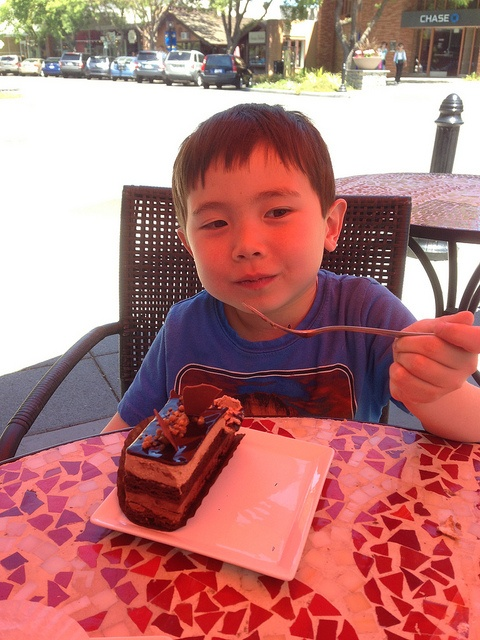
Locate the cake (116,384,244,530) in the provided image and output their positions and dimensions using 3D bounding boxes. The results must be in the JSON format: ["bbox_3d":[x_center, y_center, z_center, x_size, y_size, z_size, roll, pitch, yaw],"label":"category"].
[{"bbox_3d":[-0.089,0.193,0.924,0.324,0.183,0.216,6,8,0],"label":"cake"}]

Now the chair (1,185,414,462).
[{"bbox_3d":[-0.026,0.298,1.762,0.616,1.437,0.714,0,7,7],"label":"chair"}]

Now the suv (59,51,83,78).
[{"bbox_3d":[-9.653,-14.663,30.036,1.195,1.218,2.052,-12,26,-28],"label":"suv"}]

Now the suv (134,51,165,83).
[{"bbox_3d":[-4.206,-11.721,24.302,1.231,1.039,2.025,3,41,4],"label":"suv"}]

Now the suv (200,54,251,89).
[{"bbox_3d":[-0.457,-9.849,20.717,2.074,1.167,1.016,-15,28,-33],"label":"suv"}]
